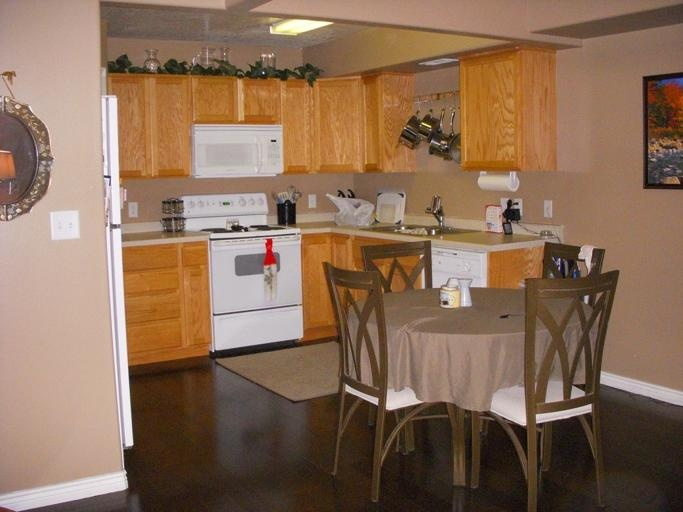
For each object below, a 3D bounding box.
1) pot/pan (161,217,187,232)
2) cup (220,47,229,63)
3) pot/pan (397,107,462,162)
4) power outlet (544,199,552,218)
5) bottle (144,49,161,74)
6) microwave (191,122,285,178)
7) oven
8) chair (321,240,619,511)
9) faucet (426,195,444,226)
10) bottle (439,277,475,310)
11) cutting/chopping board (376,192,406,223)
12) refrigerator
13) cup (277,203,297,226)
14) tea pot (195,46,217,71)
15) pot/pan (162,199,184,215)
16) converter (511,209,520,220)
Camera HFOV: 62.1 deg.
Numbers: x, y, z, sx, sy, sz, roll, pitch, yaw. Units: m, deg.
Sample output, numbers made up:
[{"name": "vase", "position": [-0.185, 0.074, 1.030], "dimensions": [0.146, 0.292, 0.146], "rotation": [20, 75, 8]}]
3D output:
[{"name": "pot/pan", "position": [-1.666, -0.318, 5.564], "dimensions": [0.166, 0.102, 0.167], "rotation": [1, 4, 8]}, {"name": "cup", "position": [-1.153, -1.970, 5.576], "dimensions": [0.070, 0.159, 0.267], "rotation": [-4, 10, -13]}, {"name": "pot/pan", "position": [0.884, -1.158, 5.452], "dimensions": [0.306, 0.503, 0.672], "rotation": [-8, 12, -35]}, {"name": "power outlet", "position": [1.724, -0.394, 4.740], "dimensions": [0.012, 0.146, 0.089], "rotation": [-8, 12, -34]}, {"name": "bottle", "position": [-1.785, -1.829, 5.324], "dimensions": [0.134, 0.244, 0.204], "rotation": [-5, 10, -21]}, {"name": "microwave", "position": [-1.026, -1.049, 5.613], "dimensions": [0.867, 0.531, 0.554], "rotation": [-4, 8, -31]}, {"name": "oven", "position": [-0.966, 0.282, 5.770], "dimensions": [1.140, 1.489, 0.989], "rotation": [-2, 2, -26]}, {"name": "chair", "position": [0.683, 0.623, 3.092], "dimensions": [1.412, 1.196, 0.943], "rotation": [3, 11, 27]}, {"name": "faucet", "position": [0.927, -0.444, 5.594], "dimensions": [0.176, 0.295, 0.320], "rotation": [0, 10, 11]}, {"name": "bottle", "position": [0.648, 0.215, 3.297], "dimensions": [0.208, 0.196, 0.125], "rotation": [1, 3, -17]}, {"name": "cutting/chopping board", "position": [0.534, -0.513, 6.047], "dimensions": [0.056, 0.295, 0.308], "rotation": [-4, 11, -40]}, {"name": "refrigerator", "position": [-1.262, 0.176, 3.235], "dimensions": [0.136, 2.131, 0.353], "rotation": [-5, 10, -20]}, {"name": "cup", "position": [-0.589, -0.456, 6.184], "dimensions": [0.221, 0.233, 0.221], "rotation": [0, 9, 0]}, {"name": "tea pot", "position": [-1.335, -1.934, 5.591], "dimensions": [0.269, 0.272, 0.222], "rotation": [-3, 11, -20]}, {"name": "pot/pan", "position": [-1.665, -0.495, 5.588], "dimensions": [0.170, 0.148, 0.171], "rotation": [0, 5, -4]}, {"name": "converter", "position": [1.521, -0.361, 4.950], "dimensions": [0.079, 0.110, 0.039], "rotation": [-6, 11, -27]}]
